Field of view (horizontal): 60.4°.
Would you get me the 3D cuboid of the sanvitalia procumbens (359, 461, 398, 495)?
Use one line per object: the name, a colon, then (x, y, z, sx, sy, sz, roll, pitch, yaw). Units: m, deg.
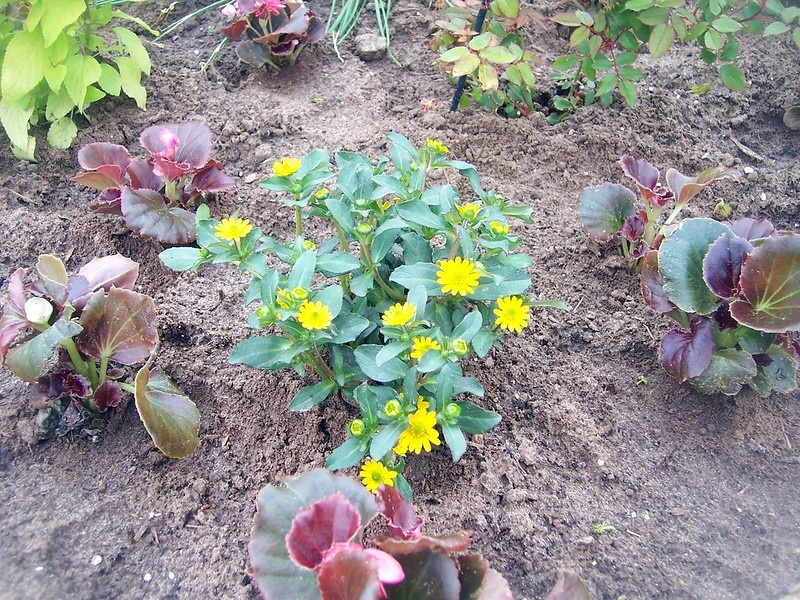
sanvitalia procumbens: (-0.098, 0.777, 3.023, 0.146, 0.135, 0.117, -3, 42, -11)

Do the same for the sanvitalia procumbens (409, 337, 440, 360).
sanvitalia procumbens: (0.101, 0.201, 2.951, 0.096, 0.040, 0.103, -19, 60, 7)

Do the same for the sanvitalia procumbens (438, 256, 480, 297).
sanvitalia procumbens: (0.255, -0.097, 3.001, 0.190, 0.141, 0.139, 10, 41, 3)

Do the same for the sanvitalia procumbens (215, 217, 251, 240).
sanvitalia procumbens: (-0.750, -0.293, 3.049, 0.117, 0.046, 0.123, 15, 48, 13)

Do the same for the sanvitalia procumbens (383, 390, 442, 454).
sanvitalia procumbens: (0.094, 0.576, 3.000, 0.176, 0.226, 0.190, 23, 43, 18)

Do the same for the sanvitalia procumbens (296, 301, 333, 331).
sanvitalia procumbens: (-0.362, 0.065, 2.878, 0.119, 0.049, 0.128, -19, 74, -14)

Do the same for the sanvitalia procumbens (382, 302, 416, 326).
sanvitalia procumbens: (-0.011, 0.059, 2.892, 0.100, 0.043, 0.108, 0, 47, 26)

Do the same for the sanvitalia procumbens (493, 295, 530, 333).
sanvitalia procumbens: (0.497, 0.070, 3.131, 0.164, 0.046, 0.169, 38, 79, 1)
